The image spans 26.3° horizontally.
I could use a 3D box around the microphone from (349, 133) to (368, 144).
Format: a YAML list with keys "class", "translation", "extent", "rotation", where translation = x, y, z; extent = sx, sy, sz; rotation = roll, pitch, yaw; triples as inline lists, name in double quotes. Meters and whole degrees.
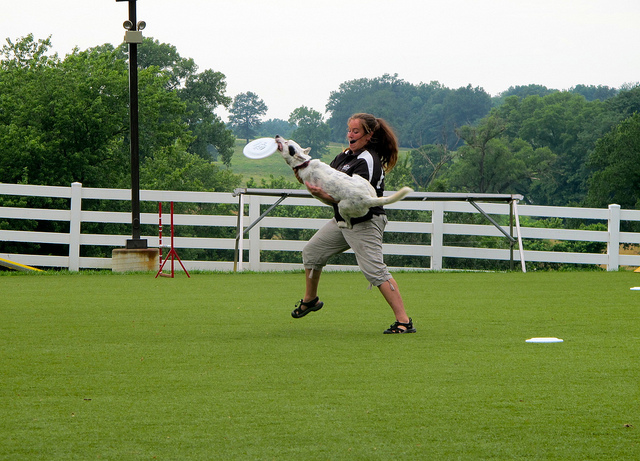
- class: "microphone"
  translation: [1.170, -2.983, 43.437]
  extent: [0.389, 0.118, 0.105]
  rotation: [-37, 25, 5]

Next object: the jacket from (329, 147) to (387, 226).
- class: "jacket"
  translation: [1.246, -1.357, 43.603]
  extent: [1.629, 2.601, 1.461]
  rotation: [0, 13, 3]
